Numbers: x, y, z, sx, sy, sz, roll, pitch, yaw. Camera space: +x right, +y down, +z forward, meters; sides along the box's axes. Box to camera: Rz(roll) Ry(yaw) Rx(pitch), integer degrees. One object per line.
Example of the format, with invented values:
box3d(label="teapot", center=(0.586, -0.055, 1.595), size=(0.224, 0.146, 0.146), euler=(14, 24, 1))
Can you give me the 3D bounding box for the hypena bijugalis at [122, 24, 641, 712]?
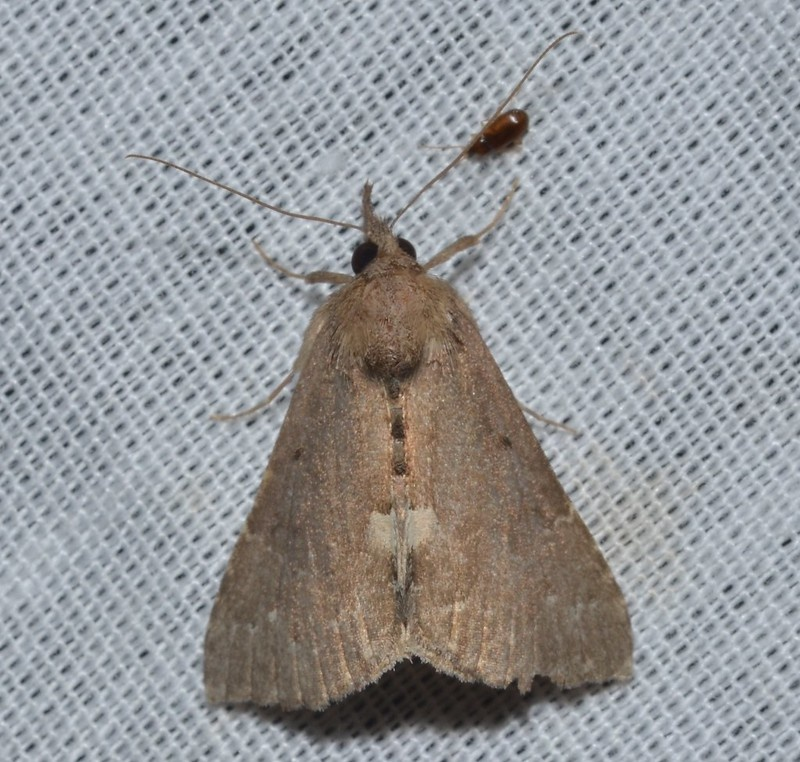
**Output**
box3d(label="hypena bijugalis", center=(-0.026, -0.031, 4.221), size=(1.377, 1.952, 0.369), euler=(-2, 11, 14))
